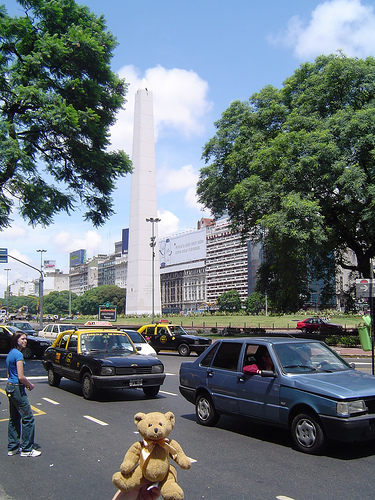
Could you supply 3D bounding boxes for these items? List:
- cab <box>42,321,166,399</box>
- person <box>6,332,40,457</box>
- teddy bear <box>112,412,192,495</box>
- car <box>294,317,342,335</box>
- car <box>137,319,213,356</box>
[{"bbox_3d":[-2.282,2.659,12.169,1.768,1.579,3.996,5,-8,-36],"label":"cab"},{"bbox_3d":[-2.107,1.940,6.099,0.516,1.343,0.320,-5,-6,39],"label":"person"},{"bbox_3d":[-0.242,1.361,3.150,0.481,0.551,0.267,2,-6,-34],"label":"teddy bear"},{"bbox_3d":[13.432,7.868,49.317,1.892,1.282,4.067,6,-11,-45],"label":"car"},{"bbox_3d":[-0.598,4.398,24.087,3.678,1.404,1.705,-7,-9,42],"label":"car"}]
